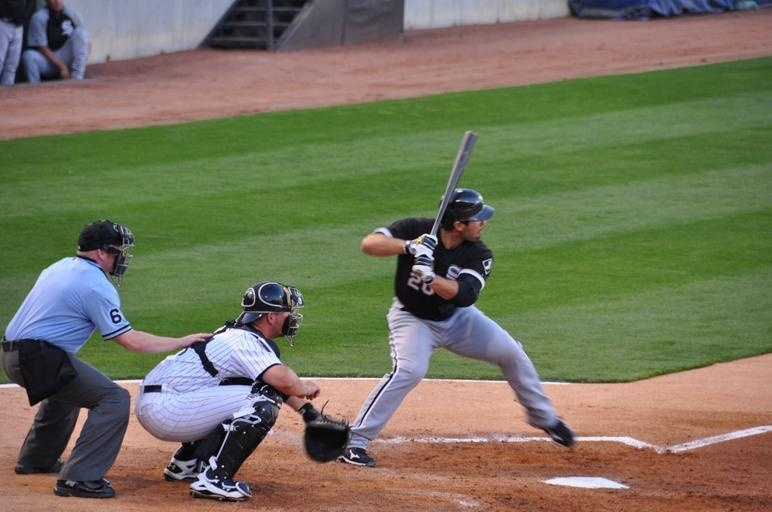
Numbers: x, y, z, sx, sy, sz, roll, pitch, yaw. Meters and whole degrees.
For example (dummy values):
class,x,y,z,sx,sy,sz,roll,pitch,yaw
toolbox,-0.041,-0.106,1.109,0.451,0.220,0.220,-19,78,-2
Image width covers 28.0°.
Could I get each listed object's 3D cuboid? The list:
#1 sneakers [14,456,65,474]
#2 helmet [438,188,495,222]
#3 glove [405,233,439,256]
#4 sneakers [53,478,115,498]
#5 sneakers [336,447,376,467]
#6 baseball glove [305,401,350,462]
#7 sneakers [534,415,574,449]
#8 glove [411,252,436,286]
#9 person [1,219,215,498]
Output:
class,x,y,z,sx,sy,sz,roll,pitch,yaw
sneakers,-4.260,2.602,19.189,0.644,0.210,0.199,-2,19,-14
helmet,1.013,-0.647,19.696,0.646,0.237,0.393,-4,15,-4
glove,0.428,-0.140,19.588,0.369,0.276,0.230,6,8,7
sneakers,-3.611,2.805,18.779,0.820,0.229,0.247,0,5,-1
sneakers,-0.368,2.547,19.598,0.625,0.210,0.191,4,0,8
baseball glove,-0.735,2.244,19.554,0.541,0.622,0.374,13,2,-2
sneakers,2.182,2.254,19.861,0.631,0.222,0.206,25,7,2
glove,0.472,0.171,19.475,0.324,0.405,0.184,7,-41,-9
person,-3.706,1.226,18.962,1.627,3.326,0.966,11,9,25
